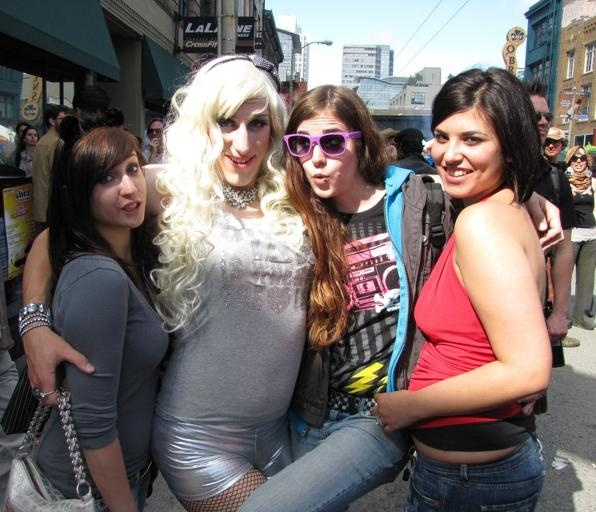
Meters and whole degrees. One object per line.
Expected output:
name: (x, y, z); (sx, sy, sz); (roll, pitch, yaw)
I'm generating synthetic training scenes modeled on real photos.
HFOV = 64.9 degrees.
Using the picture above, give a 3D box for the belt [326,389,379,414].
belt: (0.242, 0.656, 2.196); (0.143, 0.058, 0.109); (3, -10, 32)

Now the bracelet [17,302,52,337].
bracelet: (-1.044, 0.239, 1.876); (0.112, 0.103, 0.142); (-1, -30, -16)

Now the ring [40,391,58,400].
ring: (-0.925, 0.510, 1.728); (0.037, 0.026, 0.049); (7, -9, -28)
